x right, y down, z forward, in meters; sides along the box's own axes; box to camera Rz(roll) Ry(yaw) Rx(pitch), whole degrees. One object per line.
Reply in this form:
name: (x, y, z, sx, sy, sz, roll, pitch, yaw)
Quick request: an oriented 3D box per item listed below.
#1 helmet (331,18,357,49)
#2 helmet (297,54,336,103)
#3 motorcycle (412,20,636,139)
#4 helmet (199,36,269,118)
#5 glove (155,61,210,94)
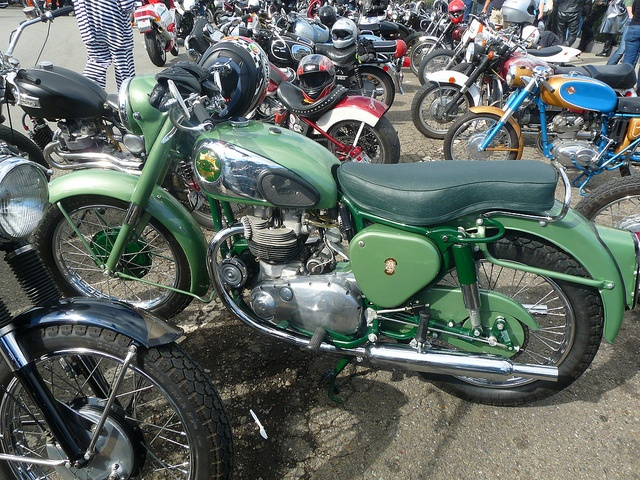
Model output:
helmet: (0.281, -2.665, 6.748, 0.309, 0.339, 0.427, 3, 22, 4)
helmet: (-0.035, -1.625, 5.240, 0.384, 0.424, 0.510, -3, 19, 15)
motorcycle: (2.155, -1.765, 6.231, 1.905, 1.122, 1.241, 2, 48, 2)
helmet: (-0.603, -0.976, 3.351, 0.536, 0.562, 0.428, -10, 11, -6)
glove: (-0.730, -0.907, 2.874, 0.210, 0.067, 0.229, 38, 48, 11)
